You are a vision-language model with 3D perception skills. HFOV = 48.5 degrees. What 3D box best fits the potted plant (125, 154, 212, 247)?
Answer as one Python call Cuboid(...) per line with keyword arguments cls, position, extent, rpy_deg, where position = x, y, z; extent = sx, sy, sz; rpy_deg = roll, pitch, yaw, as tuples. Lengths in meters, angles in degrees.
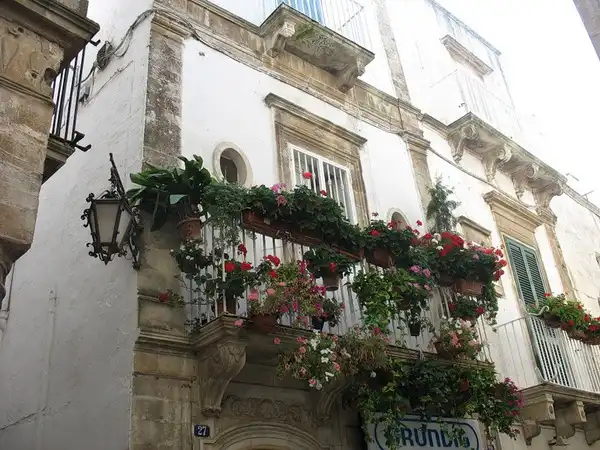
Cuboid(cls="potted plant", position=(-1.671, -0.375, 8.469), extent=(1.040, 0.891, 1.056), rpy_deg=(8, -34, -33))
